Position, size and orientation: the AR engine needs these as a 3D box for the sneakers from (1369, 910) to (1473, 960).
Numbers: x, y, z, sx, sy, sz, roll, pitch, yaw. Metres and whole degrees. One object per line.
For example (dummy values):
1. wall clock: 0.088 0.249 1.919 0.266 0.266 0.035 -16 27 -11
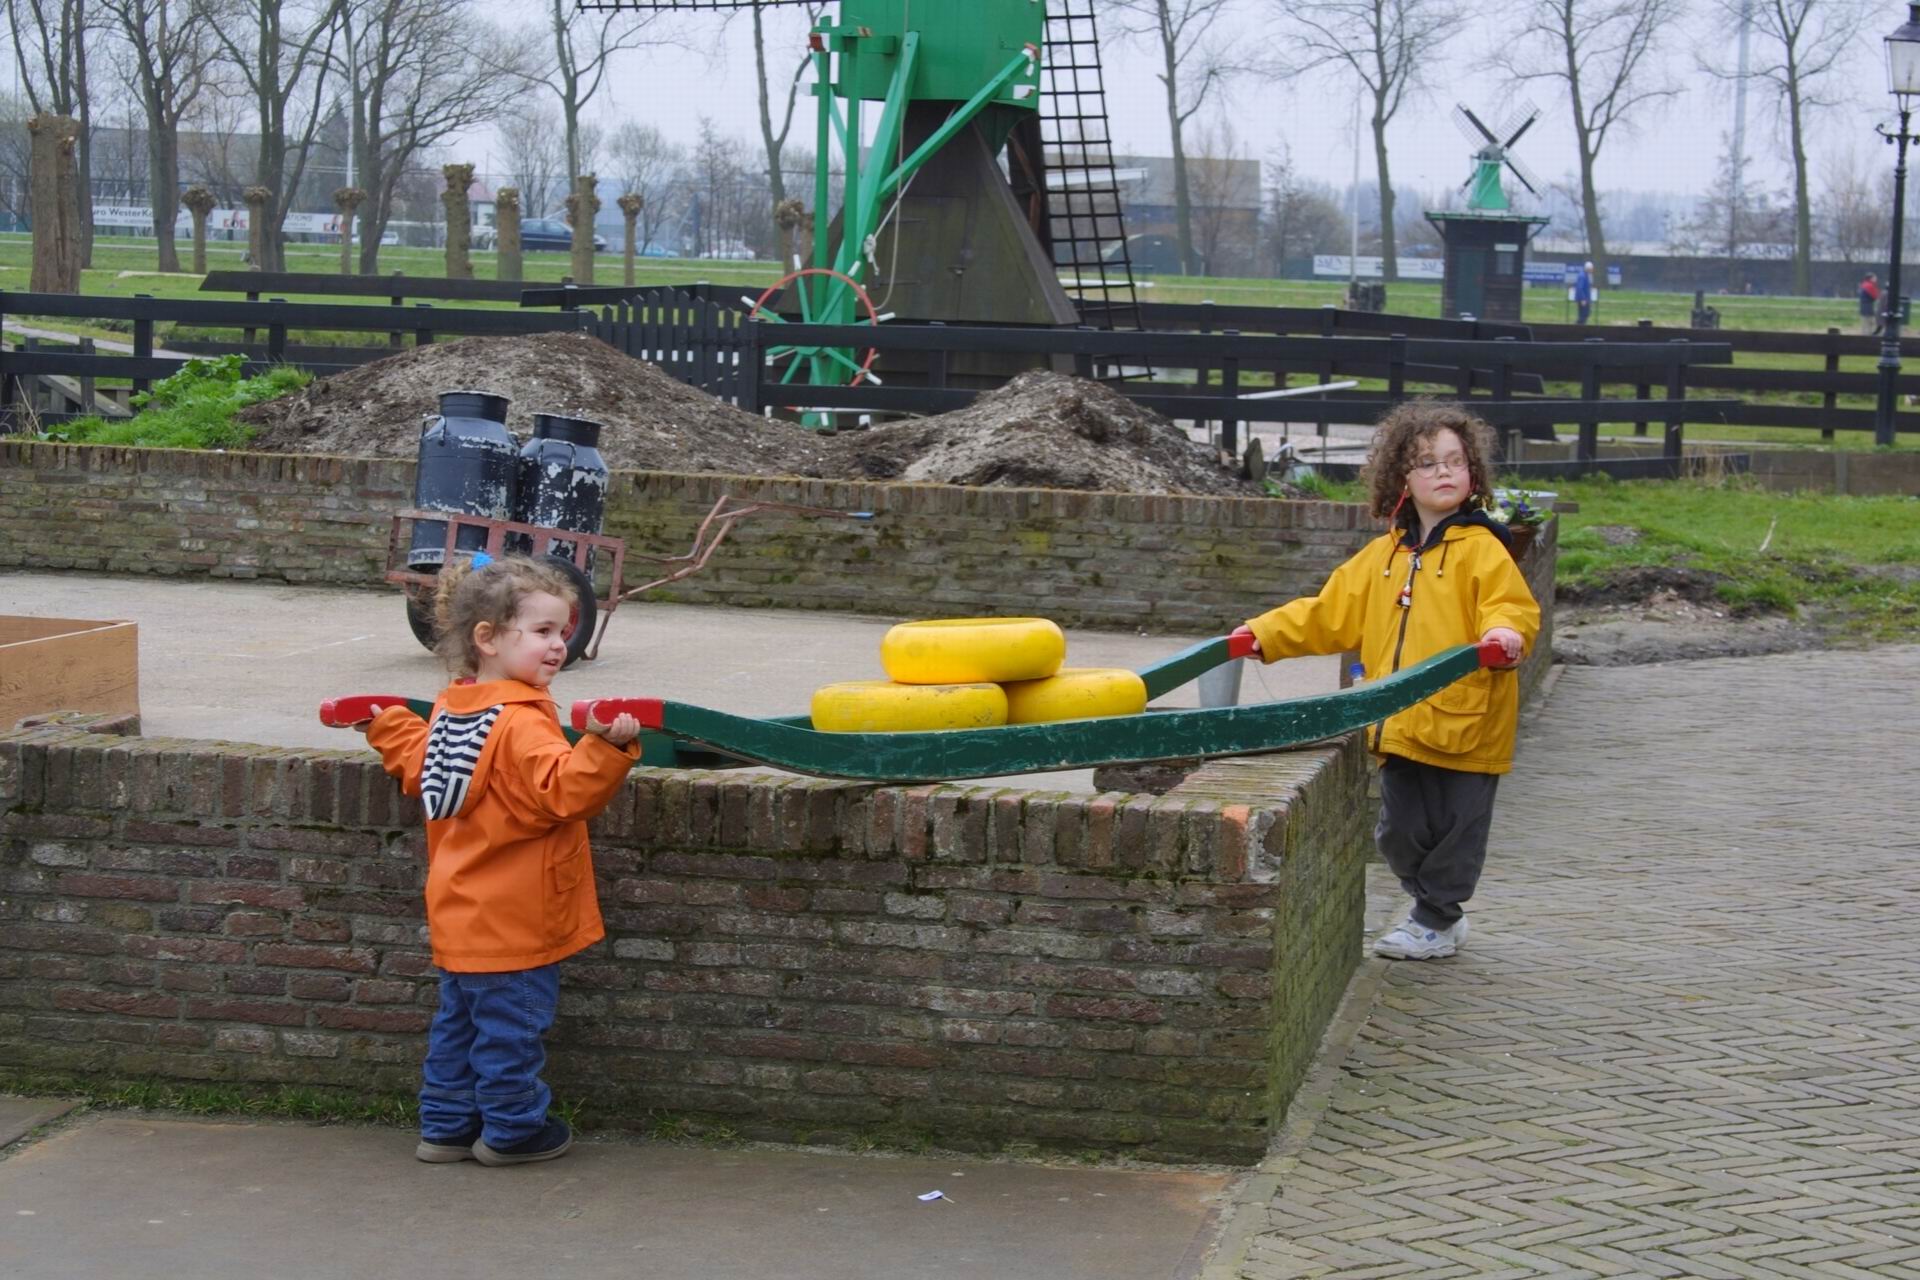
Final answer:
1. sneakers: 2.278 1.519 16.056 0.533 0.178 0.185 0 3 -6

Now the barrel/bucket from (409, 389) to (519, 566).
1. barrel/bucket: -3.052 -0.964 19.532 0.649 1.103 0.621 0 7 0

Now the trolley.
1. trolley: -2.476 -0.358 19.939 2.486 0.830 1.364 4 -2 -13

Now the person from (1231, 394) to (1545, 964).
1. person: 2.223 0.216 15.872 1.340 2.794 0.927 3 8 23

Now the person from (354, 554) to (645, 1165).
1. person: -2.060 1.004 14.413 1.173 2.726 0.538 0 7 2

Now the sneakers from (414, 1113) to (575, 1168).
1. sneakers: -2.098 2.269 14.479 0.712 0.240 0.219 -2 2 -1
